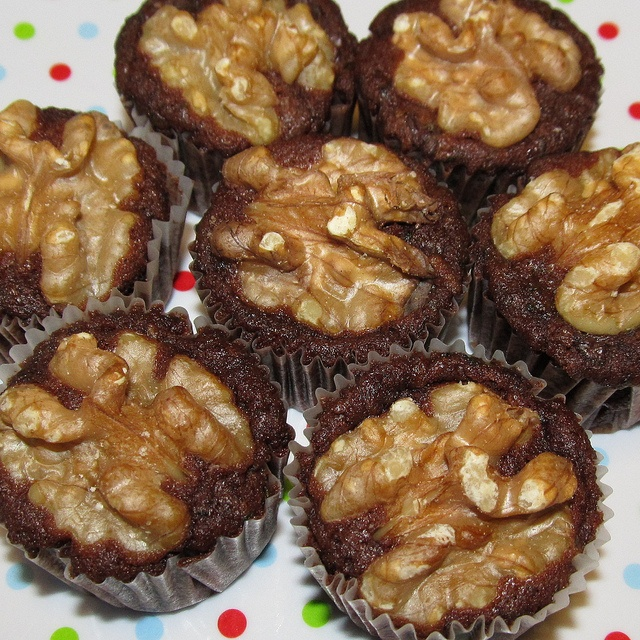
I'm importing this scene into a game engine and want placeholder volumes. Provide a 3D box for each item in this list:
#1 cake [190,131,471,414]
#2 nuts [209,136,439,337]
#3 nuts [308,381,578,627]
[{"bbox_3d":[0.006,-0.206,4.234,1.270,0.809,1.181,-36,81,-12],"label":"cake"},{"bbox_3d":[-0.027,-0.346,3.953,1.005,0.333,0.785,32,81,11],"label":"nuts"},{"bbox_3d":[0.463,0.696,3.139,1.061,0.353,0.735,-22,80,4],"label":"nuts"}]
